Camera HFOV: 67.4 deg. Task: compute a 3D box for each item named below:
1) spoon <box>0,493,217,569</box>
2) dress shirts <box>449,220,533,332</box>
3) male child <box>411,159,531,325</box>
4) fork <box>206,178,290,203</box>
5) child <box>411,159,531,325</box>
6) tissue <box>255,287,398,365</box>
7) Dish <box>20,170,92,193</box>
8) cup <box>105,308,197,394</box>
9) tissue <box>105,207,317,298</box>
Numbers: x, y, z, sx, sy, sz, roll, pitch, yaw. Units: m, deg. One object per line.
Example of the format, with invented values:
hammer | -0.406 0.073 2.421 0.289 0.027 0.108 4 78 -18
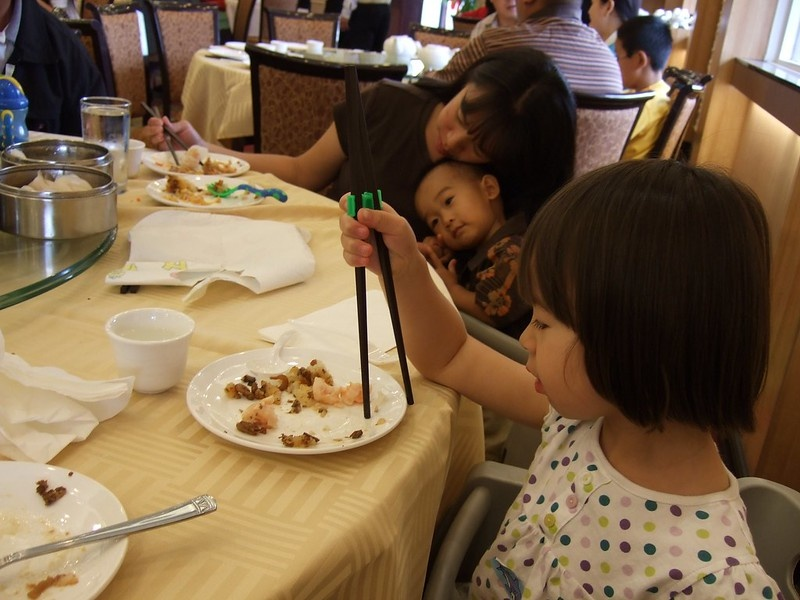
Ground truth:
spoon | -0.321 0.253 0.651 0.171 0.021 0.031 -13 44 -25
dress shirts | 0.241 -0.067 1.726 0.106 0.285 0.273 -27 -7 33
male child | 0.205 -0.160 1.599 0.179 0.196 0.452 -10 45 -24
fork | -0.417 -0.293 1.616 0.156 0.036 0.089 6 23 3
child | 0.205 -0.160 1.599 0.179 0.196 0.452 -10 45 -24
tissue | -0.108 0.051 1.079 0.135 0.021 0.150 -10 46 -23
Dish | -0.696 -0.232 1.237 0.092 0.042 0.091 2 8 -12
cup | -0.365 0.064 0.880 0.120 0.104 0.125 9 25 -4
tissue | -0.373 -0.091 1.226 0.247 0.055 0.256 13 23 -15
